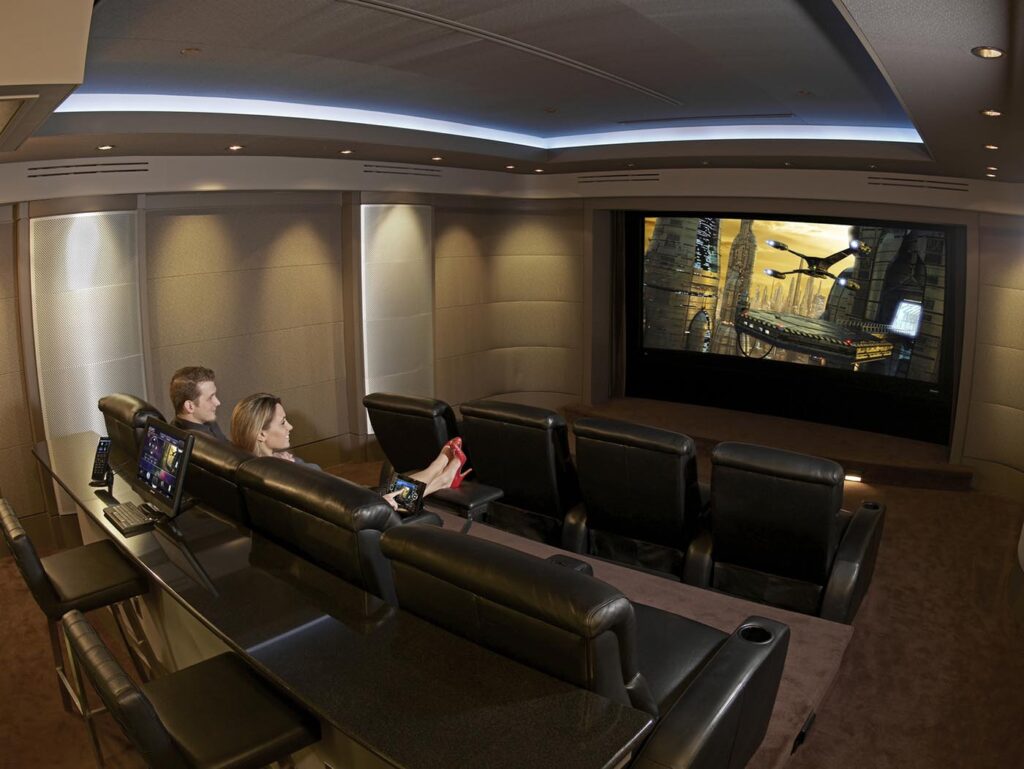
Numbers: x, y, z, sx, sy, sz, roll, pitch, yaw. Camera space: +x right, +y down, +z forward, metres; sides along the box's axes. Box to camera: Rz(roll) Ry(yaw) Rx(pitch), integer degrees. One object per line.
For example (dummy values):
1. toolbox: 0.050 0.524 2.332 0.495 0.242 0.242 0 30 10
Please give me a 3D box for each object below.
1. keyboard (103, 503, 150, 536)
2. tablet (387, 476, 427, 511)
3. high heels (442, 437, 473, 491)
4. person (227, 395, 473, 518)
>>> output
1. keyboard: -1.750 0.618 3.191 0.121 0.052 0.177 -13 25 -43
2. tablet: -0.545 0.568 3.576 0.175 0.177 0.053 4 -17 24
3. high heels: -0.335 0.476 4.297 0.130 0.356 0.130 2 5 37
4. person: -0.766 0.361 4.013 0.629 0.761 1.318 11 18 36
